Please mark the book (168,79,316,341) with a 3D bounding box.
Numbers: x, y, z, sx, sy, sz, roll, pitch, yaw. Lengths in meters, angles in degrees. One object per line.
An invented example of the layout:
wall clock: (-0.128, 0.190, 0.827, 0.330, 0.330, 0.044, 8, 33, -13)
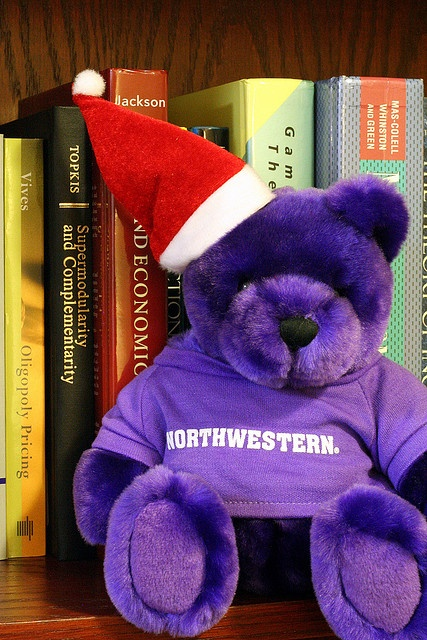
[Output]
book: (0.022, -0.076, 0.516, 0.071, 0.196, 0.202, -3, 6, -19)
